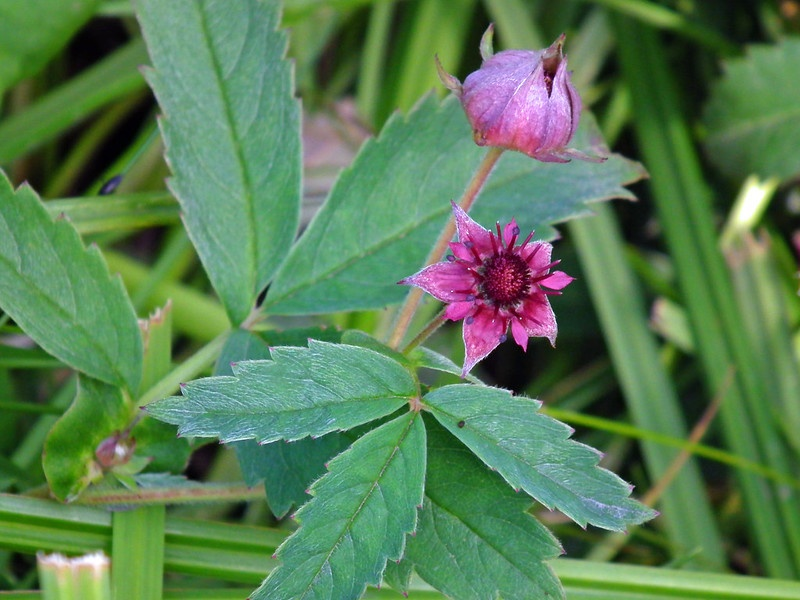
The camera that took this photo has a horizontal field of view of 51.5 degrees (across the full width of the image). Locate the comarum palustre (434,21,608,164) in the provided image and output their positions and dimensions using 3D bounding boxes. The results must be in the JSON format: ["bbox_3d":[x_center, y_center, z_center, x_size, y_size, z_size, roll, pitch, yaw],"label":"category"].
[{"bbox_3d":[0.158,-0.244,1.146,0.178,0.148,0.195,12,26,-8],"label":"comarum palustre"}]

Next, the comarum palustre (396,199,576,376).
[{"bbox_3d":[0.113,-0.011,1.079,0.218,0.218,0.051,1,-6,-17],"label":"comarum palustre"}]
